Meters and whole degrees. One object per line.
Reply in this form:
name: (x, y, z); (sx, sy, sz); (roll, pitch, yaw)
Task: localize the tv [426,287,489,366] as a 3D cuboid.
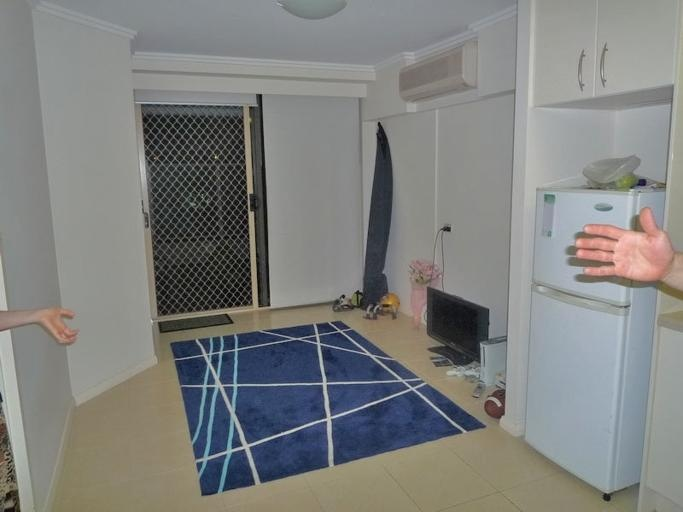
tv: (1.093, 0.657, 4.489); (0.232, 0.473, 0.618); (-5, 11, -22)

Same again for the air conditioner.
air conditioner: (0.941, -1.791, 4.707); (0.182, 0.454, 1.003); (-8, 16, -26)

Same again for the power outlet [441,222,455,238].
power outlet: (1.109, -0.282, 5.100); (0.049, 0.140, 0.210); (-6, 15, -20)

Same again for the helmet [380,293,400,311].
helmet: (0.605, 0.558, 5.934); (0.207, 0.186, 0.177); (2, 6, 3)

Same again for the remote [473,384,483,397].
remote: (1.146, 1.119, 4.026); (0.055, 0.013, 0.162); (2, 16, 23)

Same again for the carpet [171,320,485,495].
carpet: (-0.354, 1.122, 4.344); (2.053, 0.058, 2.589); (-7, 16, -23)
